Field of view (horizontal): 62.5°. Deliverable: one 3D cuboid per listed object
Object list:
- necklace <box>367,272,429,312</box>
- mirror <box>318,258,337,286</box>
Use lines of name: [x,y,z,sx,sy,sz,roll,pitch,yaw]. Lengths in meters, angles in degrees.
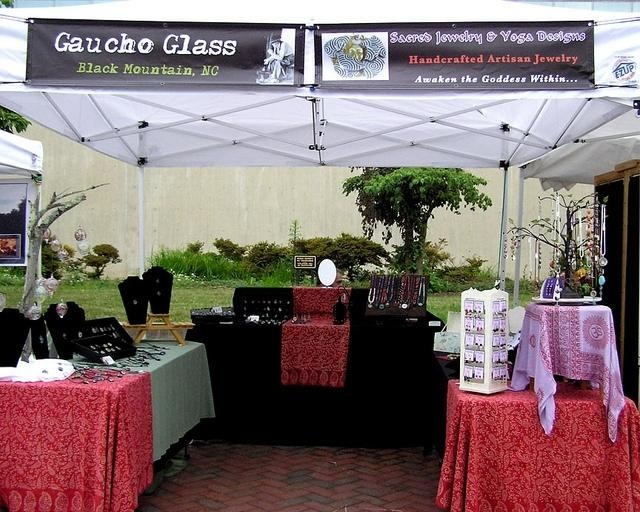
necklace: [0.695,0.343,4.773,0.412,0.369,0.020,-1,-21,10]
mirror: [0.060,0.156,5.056,0.192,0.259,0.127,1,2,7]
